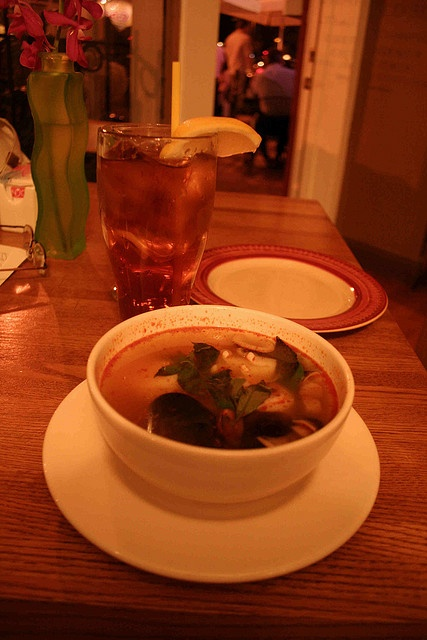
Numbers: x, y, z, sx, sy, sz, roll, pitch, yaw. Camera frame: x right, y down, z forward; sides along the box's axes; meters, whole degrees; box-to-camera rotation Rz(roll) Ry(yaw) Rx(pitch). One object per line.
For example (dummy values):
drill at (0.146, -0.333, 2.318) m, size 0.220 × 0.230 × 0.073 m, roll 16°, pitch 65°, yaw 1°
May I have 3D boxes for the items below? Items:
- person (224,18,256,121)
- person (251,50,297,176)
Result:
person at (0.307, -3.241, 7.040) m, size 0.381 × 1.111 × 0.607 m, roll 7°, pitch 32°, yaw 1°
person at (0.668, -2.505, 6.450) m, size 0.530 × 1.236 × 1.853 m, roll 7°, pitch 32°, yaw 1°
